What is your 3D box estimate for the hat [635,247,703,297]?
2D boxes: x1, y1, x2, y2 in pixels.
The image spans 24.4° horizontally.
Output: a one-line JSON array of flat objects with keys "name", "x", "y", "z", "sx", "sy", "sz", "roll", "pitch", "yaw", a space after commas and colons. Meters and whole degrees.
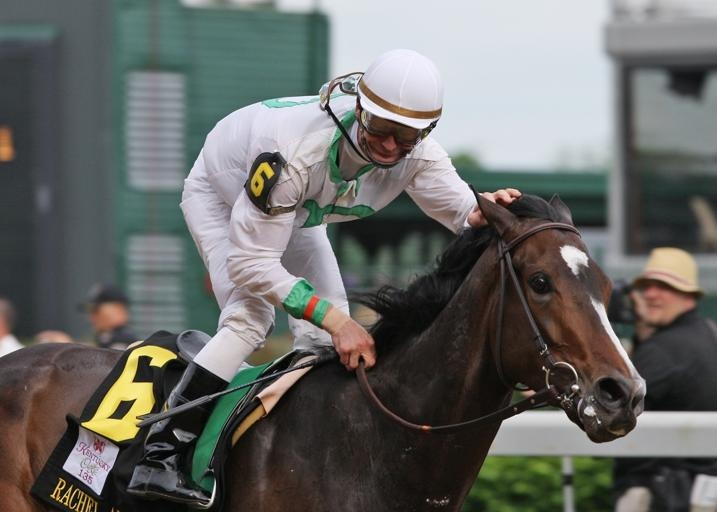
[{"name": "hat", "x": 1.905, "y": 0.078, "z": 10.416, "sx": 0.452, "sy": 0.229, "sz": 0.429, "roll": 11, "pitch": -5, "yaw": 28}]
